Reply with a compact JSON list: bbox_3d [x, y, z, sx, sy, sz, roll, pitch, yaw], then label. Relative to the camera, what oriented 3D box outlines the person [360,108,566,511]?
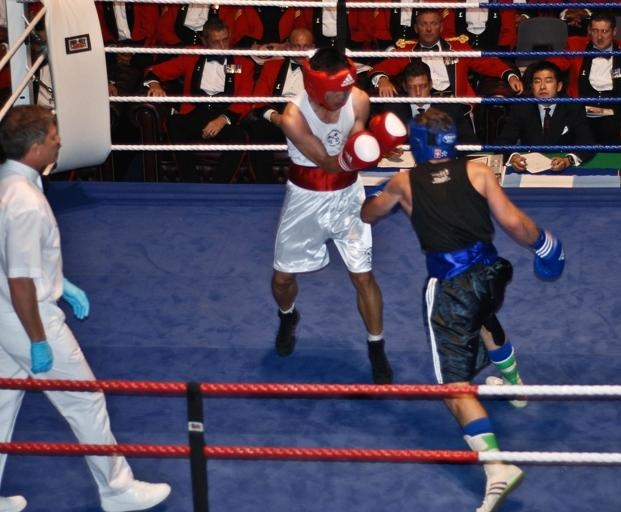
[{"bbox_3d":[0.645,0.066,3.677,0.866,1.076,0.513,-1,17,2],"label":"person"}]

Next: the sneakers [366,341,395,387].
[{"bbox_3d":[0.313,0.490,4.019,0.096,0.096,0.212,-10,54,-15],"label":"sneakers"}]
